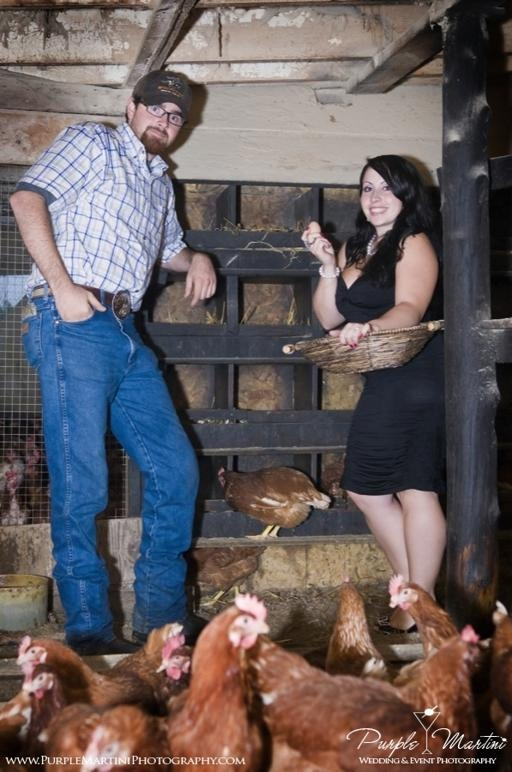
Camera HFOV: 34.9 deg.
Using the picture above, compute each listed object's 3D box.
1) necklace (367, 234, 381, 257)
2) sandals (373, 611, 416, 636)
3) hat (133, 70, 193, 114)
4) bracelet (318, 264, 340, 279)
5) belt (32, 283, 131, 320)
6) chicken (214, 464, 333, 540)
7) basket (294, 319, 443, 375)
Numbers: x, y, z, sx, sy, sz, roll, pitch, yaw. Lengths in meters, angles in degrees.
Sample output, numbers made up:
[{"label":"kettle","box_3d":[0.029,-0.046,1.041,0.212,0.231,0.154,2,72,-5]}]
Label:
[{"label":"necklace","box_3d":[0.492,-0.596,3.459,0.026,0.088,0.075,15,2,-27]},{"label":"sandals","box_3d":[0.575,1.007,3.446,0.120,0.033,0.148,4,-7,-17]},{"label":"hat","box_3d":[-0.404,-1.240,3.428,0.188,0.120,0.240,12,16,-26]},{"label":"bracelet","box_3d":[0.320,-0.503,3.560,0.068,0.033,0.076,0,12,-3]},{"label":"belt","box_3d":[-0.672,-0.331,3.195,0.257,0.079,0.177,4,3,21]},{"label":"chicken","box_3d":[0.092,0.592,4.155,0.673,0.355,0.334,-5,0,31]},{"label":"basket","box_3d":[0.396,-0.143,3.179,0.280,0.197,0.616,-4,5,-44]}]
